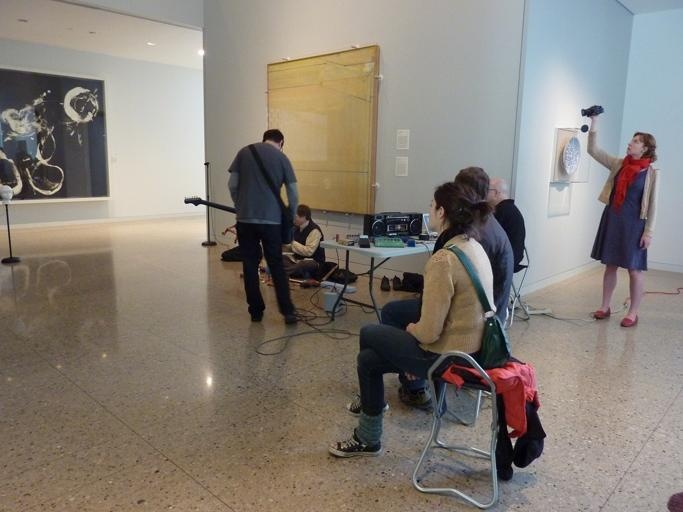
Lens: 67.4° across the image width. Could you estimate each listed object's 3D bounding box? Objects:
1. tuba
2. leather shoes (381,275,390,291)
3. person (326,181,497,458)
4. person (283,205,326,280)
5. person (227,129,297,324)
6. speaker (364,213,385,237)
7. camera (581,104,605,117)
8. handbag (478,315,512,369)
[{"bbox_3d":[-1.320,-0.348,6.373,1.377,0.749,0.795,9,10,35],"label":"tuba"},{"bbox_3d":[0.512,0.320,6.159,0.090,0.174,0.067,2,-10,6],"label":"leather shoes"},{"bbox_3d":[0.447,0.364,3.223,0.773,1.350,1.140,7,11,20],"label":"person"},{"bbox_3d":[-0.477,-0.128,6.293,0.486,0.984,0.449,15,13,43],"label":"person"},{"bbox_3d":[-0.773,-0.372,5.071,0.671,1.836,0.547,4,14,-4],"label":"person"},{"bbox_3d":[0.292,-0.292,4.725,0.184,0.209,0.194,0,4,-20],"label":"speaker"},{"bbox_3d":[2.524,-1.480,5.208,0.155,0.124,0.336,8,13,31],"label":"camera"},{"bbox_3d":[0.812,0.465,2.759,0.141,0.286,0.063,4,11,15],"label":"handbag"}]
